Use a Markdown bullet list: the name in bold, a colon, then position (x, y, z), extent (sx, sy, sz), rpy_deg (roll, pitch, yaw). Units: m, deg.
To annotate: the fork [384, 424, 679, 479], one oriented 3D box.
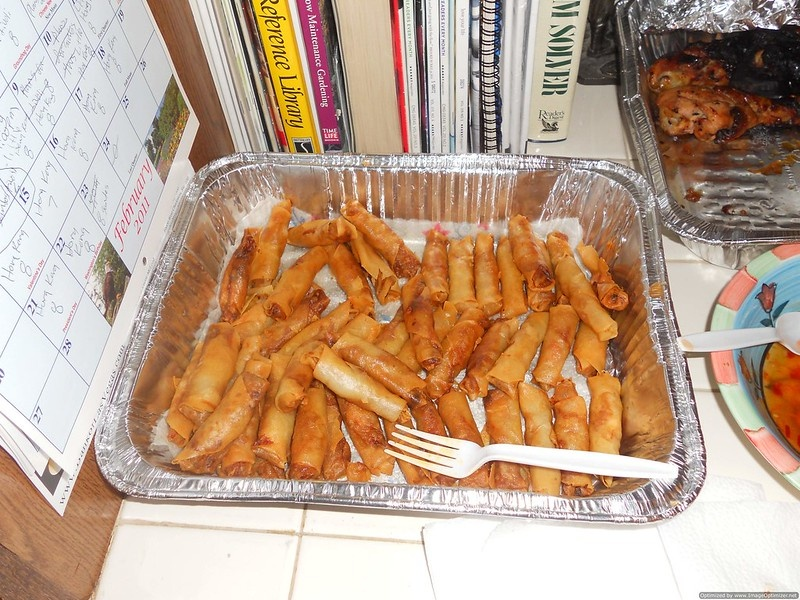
- **fork**: position (0.425, 0.489, 1.643), extent (0.710, 0.093, 0.110), rpy_deg (7, 46, 19)
